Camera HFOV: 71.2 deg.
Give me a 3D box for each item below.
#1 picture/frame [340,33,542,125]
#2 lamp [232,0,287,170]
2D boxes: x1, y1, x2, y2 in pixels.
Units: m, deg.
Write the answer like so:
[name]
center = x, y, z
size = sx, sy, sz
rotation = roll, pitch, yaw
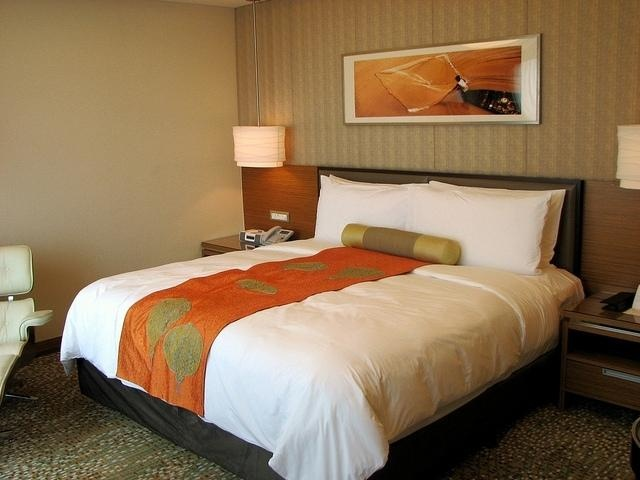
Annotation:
[picture/frame]
center = 0.992, -1.368, 3.921
size = 1.889, 0.638, 0.036
rotation = 13, 31, 39
[lamp]
center = -0.671, -1.717, 4.893
size = 0.540, 1.836, 0.675
rotation = 1, 13, 16
